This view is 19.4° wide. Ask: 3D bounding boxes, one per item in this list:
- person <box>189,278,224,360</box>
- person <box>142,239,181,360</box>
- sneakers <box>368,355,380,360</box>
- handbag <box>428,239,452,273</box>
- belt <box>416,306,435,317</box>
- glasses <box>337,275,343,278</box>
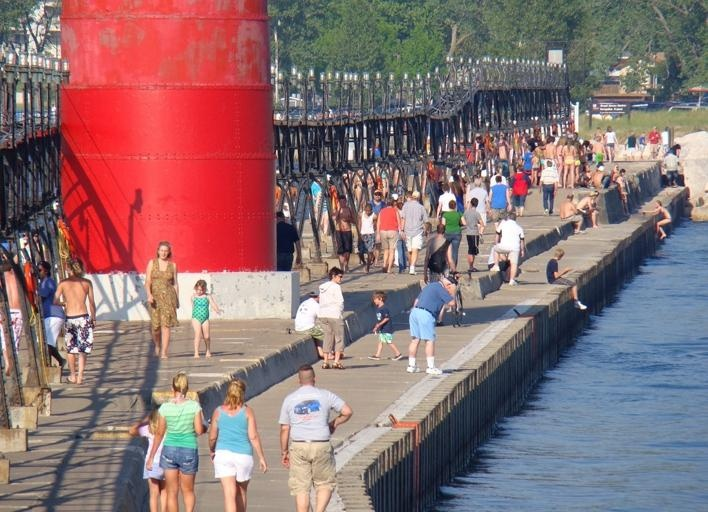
[{"bbox_3d":[-3.264,1.353,45.154,0.522,1.651,1.262,-4,11,-4],"label":"person"},{"bbox_3d":[-4.134,0.947,44.864,0.678,2.585,0.782,-4,10,-6],"label":"person"},{"bbox_3d":[0.470,2.380,47.307,0.225,0.105,0.094,8,0,30],"label":"sneakers"},{"bbox_3d":[2.069,0.031,50.632,0.563,1.302,0.841,2,0,7],"label":"handbag"},{"bbox_3d":[1.578,1.254,45.064,0.436,0.255,0.107,-2,11,9],"label":"belt"},{"bbox_3d":[-0.313,0.472,45.434,0.068,0.023,0.064,9,-8,-40],"label":"glasses"}]
